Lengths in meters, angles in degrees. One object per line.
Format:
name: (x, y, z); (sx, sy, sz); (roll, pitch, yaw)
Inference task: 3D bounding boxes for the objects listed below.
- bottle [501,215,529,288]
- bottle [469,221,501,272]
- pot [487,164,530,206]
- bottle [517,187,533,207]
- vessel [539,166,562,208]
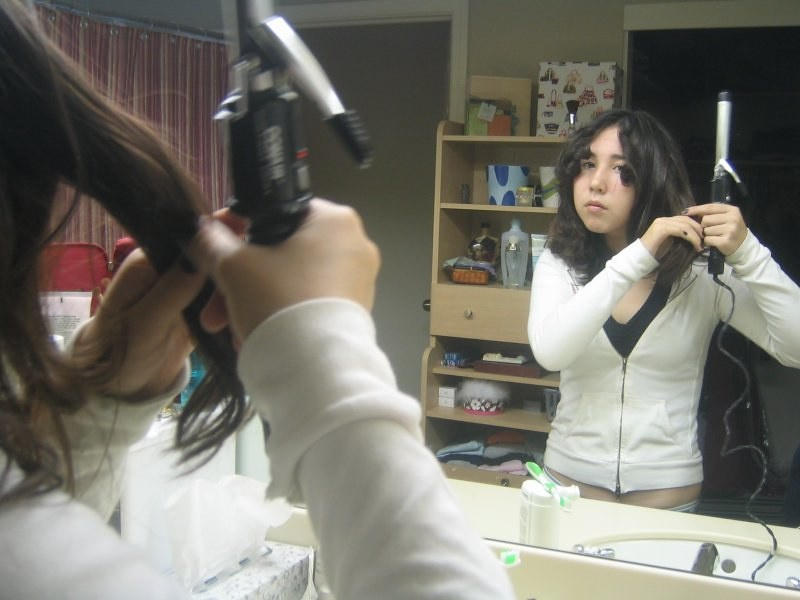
bottle: (0.150, -0.061, 0.946); (0.036, 0.086, 0.025); (0, -5, 24)
bottle: (0.111, -0.072, 0.946); (0.038, 0.055, 0.038); (0, 1, 0)
pot: (0.137, -0.141, 0.920); (0.051, 0.044, 0.048); (0, -2, 0)
bottle: (0.158, -0.129, 0.917); (0.023, 0.026, 0.023); (0, 7, 7)
vessel: (0.201, -0.142, 0.938); (0.038, 0.047, 0.039); (0, -10, 16)
